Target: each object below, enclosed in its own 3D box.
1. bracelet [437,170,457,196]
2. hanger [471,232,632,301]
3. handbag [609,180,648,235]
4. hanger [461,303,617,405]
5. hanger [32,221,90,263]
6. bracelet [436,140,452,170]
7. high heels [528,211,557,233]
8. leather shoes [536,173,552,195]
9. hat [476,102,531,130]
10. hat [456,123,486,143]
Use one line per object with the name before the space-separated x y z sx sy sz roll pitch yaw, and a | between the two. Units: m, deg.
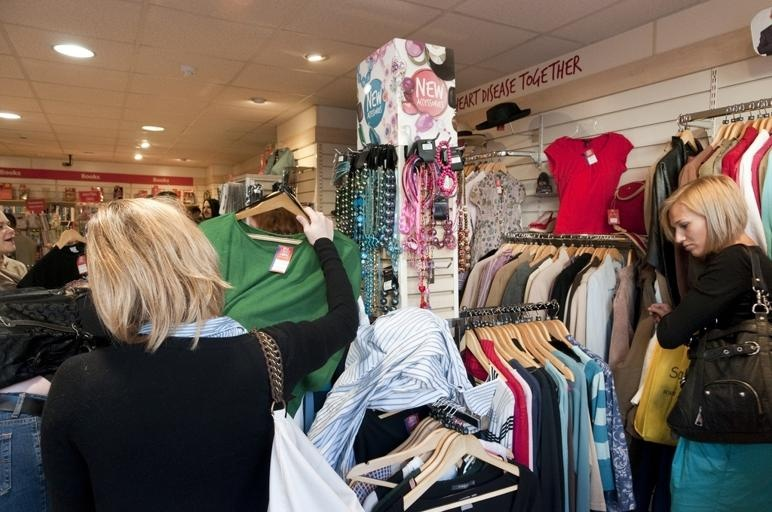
bracelet | 0.464 -0.550 3.893 0.161 0.175 0.061 -8 1 -35
hanger | 1.496 0.025 4.474 0.692 0.336 0.920 -11 5 -40
handbag | 2.038 -0.409 4.371 0.274 0.448 0.258 -1 5 23
hanger | 0.761 0.474 3.038 0.523 0.286 0.734 -2 9 -15
hanger | -3.441 -0.153 5.393 0.062 0.270 0.651 7 8 20
bracelet | 0.438 -0.762 3.871 0.134 0.197 0.053 -9 0 44
high heels | 1.564 -0.341 5.049 0.370 0.130 0.127 -12 3 -43
leather shoes | 1.555 -0.719 5.095 0.139 0.228 0.230 2 21 14
hat | 1.192 -1.446 5.295 0.368 0.127 0.324 -19 15 32
hat | 0.992 -1.459 5.941 0.319 0.305 0.598 -2 5 11
